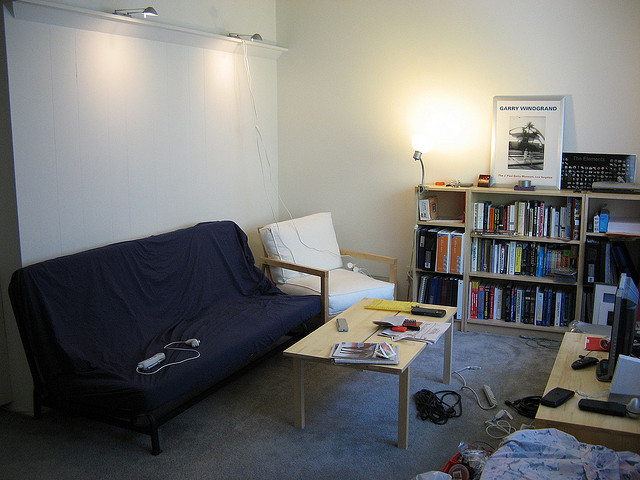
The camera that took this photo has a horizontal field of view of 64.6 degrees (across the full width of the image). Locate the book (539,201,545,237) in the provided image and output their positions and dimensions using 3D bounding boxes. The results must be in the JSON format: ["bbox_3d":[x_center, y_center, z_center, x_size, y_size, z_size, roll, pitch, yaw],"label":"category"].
[{"bbox_3d":[1.945,-0.176,4.453,0.042,0.314,0.265,1,4,17],"label":"book"}]

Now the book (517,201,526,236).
[{"bbox_3d":[1.793,-0.189,4.516,0.052,0.225,0.212,2,4,13],"label":"book"}]

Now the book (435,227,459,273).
[{"bbox_3d":[1.169,0.112,4.680,0.131,0.368,0.386,3,5,18],"label":"book"}]

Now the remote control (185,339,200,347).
[{"bbox_3d":[-0.849,0.687,3.390,0.073,0.032,0.047,3,5,28],"label":"remote control"}]

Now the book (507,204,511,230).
[{"bbox_3d":[1.691,-0.204,4.548,0.026,0.248,0.194,0,7,16],"label":"book"}]

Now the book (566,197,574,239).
[{"bbox_3d":[2.139,-0.187,4.343,0.051,0.364,0.310,0,7,17],"label":"book"}]

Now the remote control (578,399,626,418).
[{"bbox_3d":[1.425,0.845,2.563,0.152,0.022,0.091,3,9,26],"label":"remote control"}]

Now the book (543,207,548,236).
[{"bbox_3d":[1.980,-0.154,4.447,0.025,0.240,0.034,2,12,10],"label":"book"}]

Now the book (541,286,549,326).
[{"bbox_3d":[1.989,0.603,4.481,0.095,0.271,0.274,3,11,22],"label":"book"}]

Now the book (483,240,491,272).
[{"bbox_3d":[1.538,0.145,4.682,0.048,0.215,0.207,3,-1,15],"label":"book"}]

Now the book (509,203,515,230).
[{"bbox_3d":[1.719,-0.196,4.544,0.039,0.168,0.163,2,9,12],"label":"book"}]

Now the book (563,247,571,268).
[{"bbox_3d":[2.149,0.168,4.420,0.031,0.127,0.123,4,3,11],"label":"book"}]

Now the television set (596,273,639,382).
[{"bbox_3d":[1.777,0.530,3.029,0.171,0.556,0.454,8,15,29],"label":"television set"}]

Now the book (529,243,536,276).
[{"bbox_3d":[1.900,0.167,4.528,0.034,0.347,0.247,1,7,15],"label":"book"}]

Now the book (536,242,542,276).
[{"bbox_3d":[1.946,0.163,4.510,0.033,0.340,0.255,2,5,16],"label":"book"}]

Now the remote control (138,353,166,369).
[{"bbox_3d":[-1.033,0.748,3.164,0.087,0.050,0.192,6,13,28],"label":"remote control"}]

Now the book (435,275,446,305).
[{"bbox_3d":[1.127,0.484,4.760,0.124,0.225,0.230,2,4,19],"label":"book"}]

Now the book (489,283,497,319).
[{"bbox_3d":[1.579,0.577,4.657,0.048,0.220,0.215,7,1,13],"label":"book"}]

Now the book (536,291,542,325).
[{"bbox_3d":[1.939,0.617,4.493,0.048,0.218,0.213,2,6,13],"label":"book"}]

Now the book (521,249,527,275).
[{"bbox_3d":[1.831,0.198,4.554,0.035,0.161,0.158,-1,8,19],"label":"book"}]

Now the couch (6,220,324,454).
[{"bbox_3d":[-1.033,0.589,3.574,1.006,1.126,1.767,9,15,39],"label":"couch"}]

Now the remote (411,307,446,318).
[{"bbox_3d":[0.805,0.538,3.745,0.255,0.040,0.109,1,12,5],"label":"remote"}]

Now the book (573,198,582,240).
[{"bbox_3d":[2.184,-0.170,4.311,0.066,0.344,0.050,7,15,33],"label":"book"}]

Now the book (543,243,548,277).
[{"bbox_3d":[1.998,0.184,4.499,0.040,0.288,0.246,2,5,20],"label":"book"}]

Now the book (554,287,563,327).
[{"bbox_3d":[2.084,0.614,4.448,0.050,0.300,0.051,5,13,24],"label":"book"}]

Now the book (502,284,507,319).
[{"bbox_3d":[1.675,0.581,4.624,0.044,0.206,0.201,2,2,16],"label":"book"}]

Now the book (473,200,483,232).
[{"bbox_3d":[1.440,-0.206,4.631,0.031,0.331,0.245,2,7,20],"label":"book"}]

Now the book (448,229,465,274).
[{"bbox_3d":[1.252,0.122,4.654,0.115,0.334,0.351,2,11,16],"label":"book"}]

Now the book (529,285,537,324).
[{"bbox_3d":[1.907,0.591,4.555,0.051,0.236,0.230,4,3,21],"label":"book"}]

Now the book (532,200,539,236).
[{"bbox_3d":[1.898,-0.179,4.471,0.039,0.299,0.252,1,9,19],"label":"book"}]

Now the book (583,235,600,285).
[{"bbox_3d":[2.264,0.192,4.235,0.107,0.329,0.339,2,14,20],"label":"book"}]

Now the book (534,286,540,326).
[{"bbox_3d":[1.924,0.602,4.503,0.043,0.345,0.293,4,5,21],"label":"book"}]

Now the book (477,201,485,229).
[{"bbox_3d":[1.468,-0.217,4.628,0.062,0.189,0.197,2,9,17],"label":"book"}]

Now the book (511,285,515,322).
[{"bbox_3d":[1.745,0.594,4.592,0.033,0.319,0.270,0,6,17],"label":"book"}]

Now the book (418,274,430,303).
[{"bbox_3d":[0.985,0.478,4.830,0.044,0.326,0.242,5,5,18],"label":"book"}]

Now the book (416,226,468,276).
[{"bbox_3d":[1.153,0.120,4.815,0.413,0.370,0.300,5,3,-21],"label":"book"}]

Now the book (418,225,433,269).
[{"bbox_3d":[0.986,0.090,4.742,0.136,0.433,0.396,2,-1,12],"label":"book"}]

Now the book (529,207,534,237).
[{"bbox_3d":[1.870,-0.166,4.485,0.035,0.263,0.218,1,8,15],"label":"book"}]

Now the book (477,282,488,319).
[{"bbox_3d":[1.501,0.573,4.684,0.098,0.283,0.287,1,9,15],"label":"book"}]

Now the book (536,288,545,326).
[{"bbox_3d":[1.947,0.606,4.492,0.050,0.233,0.226,0,-1,14],"label":"book"}]

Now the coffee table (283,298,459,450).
[{"bbox_3d":[0.447,0.903,3.696,0.905,0.608,1.365,1,9,24],"label":"coffee table"}]

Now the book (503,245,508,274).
[{"bbox_3d":[1.688,0.168,4.608,0.037,0.282,0.239,1,3,17],"label":"book"}]

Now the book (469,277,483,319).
[{"bbox_3d":[1.441,0.560,4.697,0.122,0.348,0.352,2,4,19],"label":"book"}]

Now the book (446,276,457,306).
[{"bbox_3d":[1.221,0.485,4.727,0.128,0.232,0.235,3,4,19],"label":"book"}]

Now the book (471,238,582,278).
[{"bbox_3d":[1.798,0.142,4.447,0.870,0.328,0.275,2,9,30],"label":"book"}]

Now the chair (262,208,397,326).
[{"bbox_3d":[0.063,0.387,4.673,1.145,1.106,1.145,4,9,30],"label":"chair"}]

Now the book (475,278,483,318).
[{"bbox_3d":[1.469,0.559,4.694,0.042,0.345,0.293,2,8,19],"label":"book"}]

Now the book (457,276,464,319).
[{"bbox_3d":[1.294,0.545,4.691,0.057,0.412,0.345,1,7,17],"label":"book"}]

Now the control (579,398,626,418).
[{"bbox_3d":[1.428,0.845,2.561,0.152,0.027,0.090,2,7,29],"label":"control"}]

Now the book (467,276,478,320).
[{"bbox_3d":[1.411,0.558,4.697,0.054,0.418,0.359,2,5,23],"label":"book"}]

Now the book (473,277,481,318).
[{"bbox_3d":[1.452,0.556,4.696,0.047,0.370,0.318,2,3,19],"label":"book"}]

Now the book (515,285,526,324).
[{"bbox_3d":[1.807,0.596,4.582,0.053,0.243,0.237,3,3,18],"label":"book"}]
